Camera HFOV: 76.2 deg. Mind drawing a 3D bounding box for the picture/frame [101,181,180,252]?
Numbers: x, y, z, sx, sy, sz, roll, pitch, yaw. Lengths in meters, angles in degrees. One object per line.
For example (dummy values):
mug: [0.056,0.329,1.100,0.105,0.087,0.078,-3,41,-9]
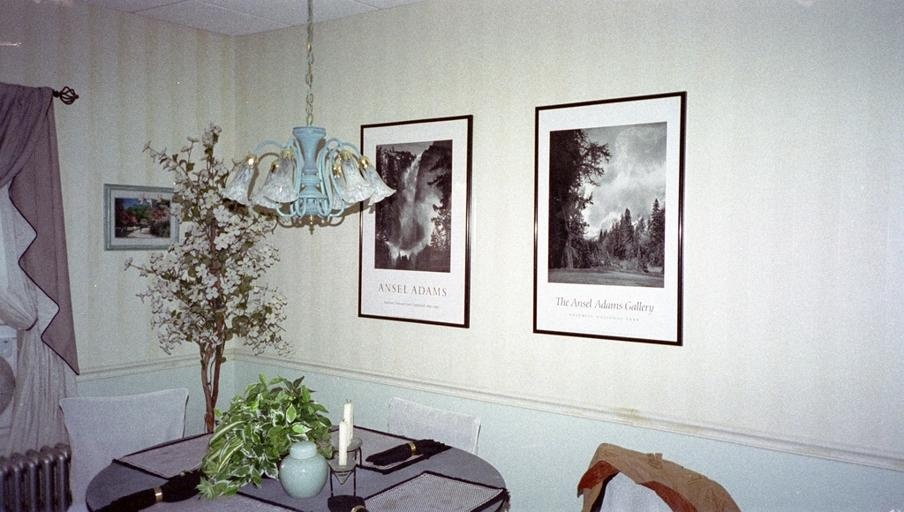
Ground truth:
picture/frame: [-3.054,-0.399,5.591,0.713,0.704,0.049,-2,1,-40]
